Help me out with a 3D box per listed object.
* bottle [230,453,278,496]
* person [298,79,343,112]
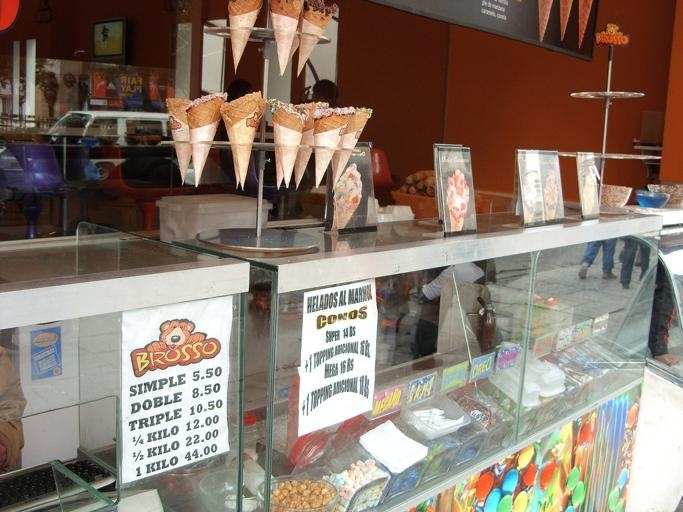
[{"bbox_3d":[-0.211,0.515,1.287,0.075,0.037,0.099,16,40,-18],"label":"bottle"},{"bbox_3d":[-0.263,-2.180,7.161,0.289,0.337,0.977,4,17,11],"label":"person"}]
